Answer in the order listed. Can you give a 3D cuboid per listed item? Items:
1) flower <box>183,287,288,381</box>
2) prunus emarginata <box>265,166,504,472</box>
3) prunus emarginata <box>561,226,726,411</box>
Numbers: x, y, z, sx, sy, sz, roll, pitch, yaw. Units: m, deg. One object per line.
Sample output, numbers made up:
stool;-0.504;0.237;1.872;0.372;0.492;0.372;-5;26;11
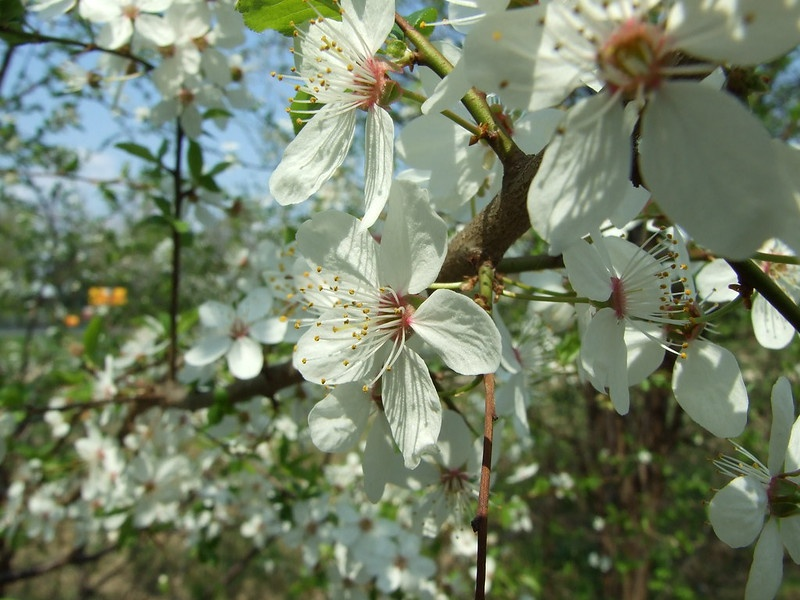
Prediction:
flower;-0.569;0.111;2.562;0.276;0.113;0.339;13;1;23
prunus emarginata;0.003;0.021;2.030;0.666;0.301;0.720;24;-4;-32
prunus emarginata;0.737;0.058;1.999;0.398;0.637;0.336;4;-9;35
